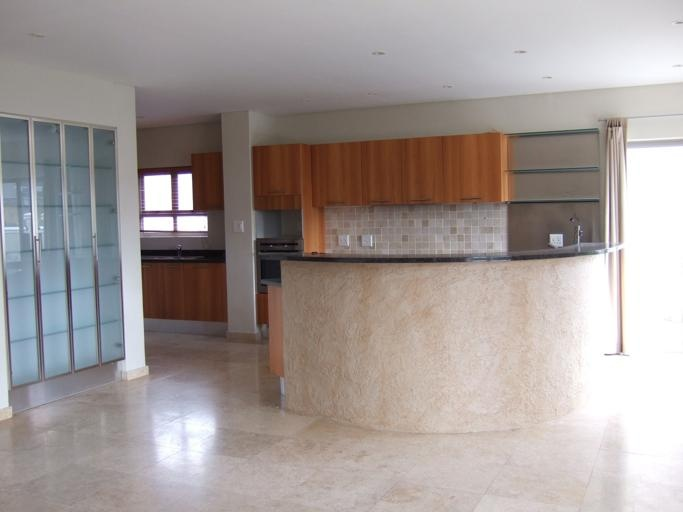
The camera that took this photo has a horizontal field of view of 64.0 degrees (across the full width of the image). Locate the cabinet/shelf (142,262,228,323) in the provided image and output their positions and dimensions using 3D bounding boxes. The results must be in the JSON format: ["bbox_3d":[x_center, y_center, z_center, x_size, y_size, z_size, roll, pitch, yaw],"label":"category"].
[{"bbox_3d":[-2.157,0.476,7.744,1.385,0.868,0.804,1,-1,13],"label":"cabinet/shelf"}]

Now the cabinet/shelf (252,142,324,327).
[{"bbox_3d":[-0.682,-0.339,7.359,0.952,2.288,0.434,-2,7,-4],"label":"cabinet/shelf"}]
